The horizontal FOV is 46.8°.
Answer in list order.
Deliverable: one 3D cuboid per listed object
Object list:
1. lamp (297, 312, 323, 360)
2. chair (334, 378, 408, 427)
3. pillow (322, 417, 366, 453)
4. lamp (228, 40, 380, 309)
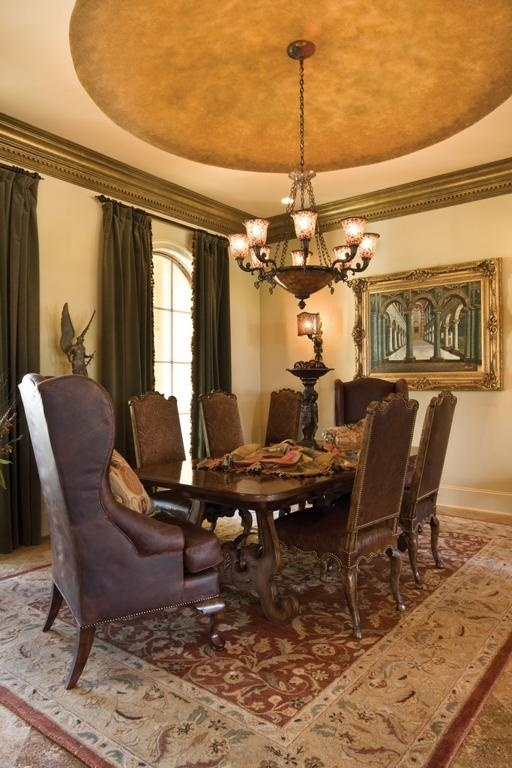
[{"bbox_3d":[0.510,-0.456,5.668,0.221,0.443,0.586,-1,0,6],"label":"lamp"},{"bbox_3d":[0.912,0.116,4.813,0.476,0.680,0.523,1,7,18],"label":"chair"},{"bbox_3d":[0.516,0.313,3.556,0.167,0.083,0.239,4,5,43],"label":"pillow"},{"bbox_3d":[0.264,-1.233,3.456,0.881,1.457,0.853,0,1,-21],"label":"lamp"}]
